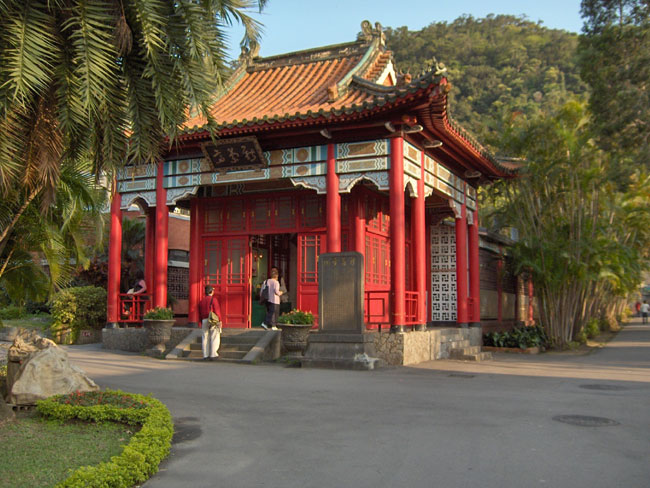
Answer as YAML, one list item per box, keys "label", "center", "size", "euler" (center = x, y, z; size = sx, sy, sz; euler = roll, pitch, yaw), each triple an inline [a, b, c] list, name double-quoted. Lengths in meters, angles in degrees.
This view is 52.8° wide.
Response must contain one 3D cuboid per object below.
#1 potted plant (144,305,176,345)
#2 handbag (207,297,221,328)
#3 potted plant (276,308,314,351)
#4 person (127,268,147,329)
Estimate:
- label: "potted plant"
  center: [-4.258, 2.139, 17.021]
  size: [0.769, 1.189, 0.797]
  euler: [-5, -10, 25]
- label: "handbag"
  center: [-2.654, 1.670, 15.651]
  size: [0.444, 0.841, 0.364]
  euler: [-3, -13, -10]
- label: "potted plant"
  center: [-0.654, 2.042, 15.118]
  size: [0.819, 1.017, 0.920]
  euler: [2, -11, 6]
- label: "person"
  center: [-5.496, 1.564, 19.061]
  size: [0.547, 1.454, 1.897]
  euler: [3, -10, -16]
